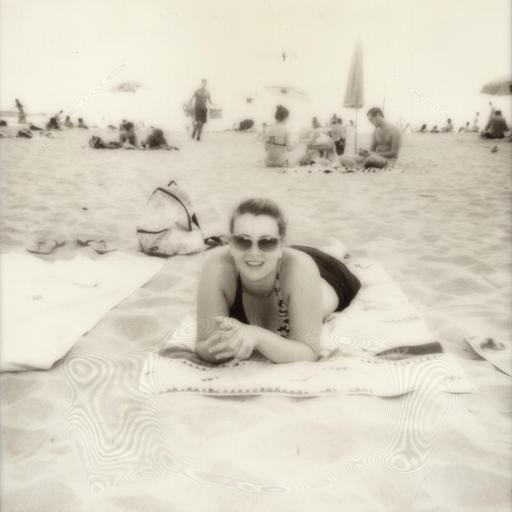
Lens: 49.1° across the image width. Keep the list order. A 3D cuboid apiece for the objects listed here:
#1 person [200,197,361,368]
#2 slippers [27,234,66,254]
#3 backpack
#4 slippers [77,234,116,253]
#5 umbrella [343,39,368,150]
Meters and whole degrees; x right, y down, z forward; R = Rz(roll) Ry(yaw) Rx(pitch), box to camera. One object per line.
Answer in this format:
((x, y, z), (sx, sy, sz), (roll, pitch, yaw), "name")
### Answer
((0.130, 0.053, 3.260), (0.705, 0.816, 1.783), (6, 11, 15), "person")
((-1.283, -0.065, 3.401), (0.220, 0.099, 0.080), (1, 15, -2), "slippers")
((-0.482, -0.200, 3.556), (0.524, 0.477, 0.389), (5, 3, 7), "backpack")
((-0.983, -0.076, 3.444), (0.211, 0.080, 0.105), (24, 10, -3), "slippers")
((0.580, -1.000, 3.370), (0.121, 0.571, 0.067), (2, 14, 3), "umbrella")
